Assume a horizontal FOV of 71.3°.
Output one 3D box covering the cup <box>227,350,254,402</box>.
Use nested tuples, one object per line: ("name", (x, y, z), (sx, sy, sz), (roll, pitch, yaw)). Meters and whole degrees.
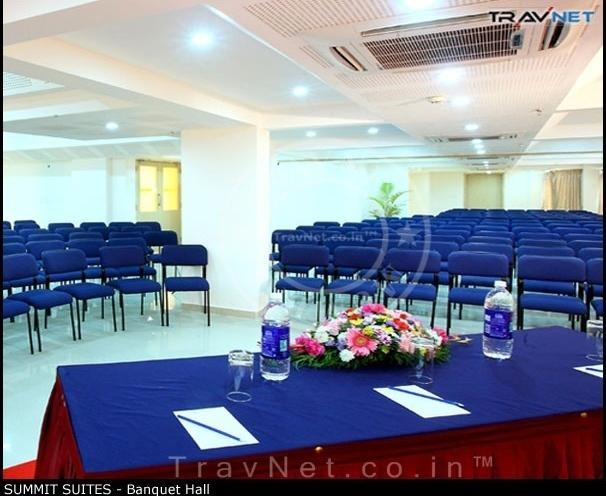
("cup", (-0.276, 0.542, 1.756), (0.120, 0.173, 0.118), (2, -14, 0))
